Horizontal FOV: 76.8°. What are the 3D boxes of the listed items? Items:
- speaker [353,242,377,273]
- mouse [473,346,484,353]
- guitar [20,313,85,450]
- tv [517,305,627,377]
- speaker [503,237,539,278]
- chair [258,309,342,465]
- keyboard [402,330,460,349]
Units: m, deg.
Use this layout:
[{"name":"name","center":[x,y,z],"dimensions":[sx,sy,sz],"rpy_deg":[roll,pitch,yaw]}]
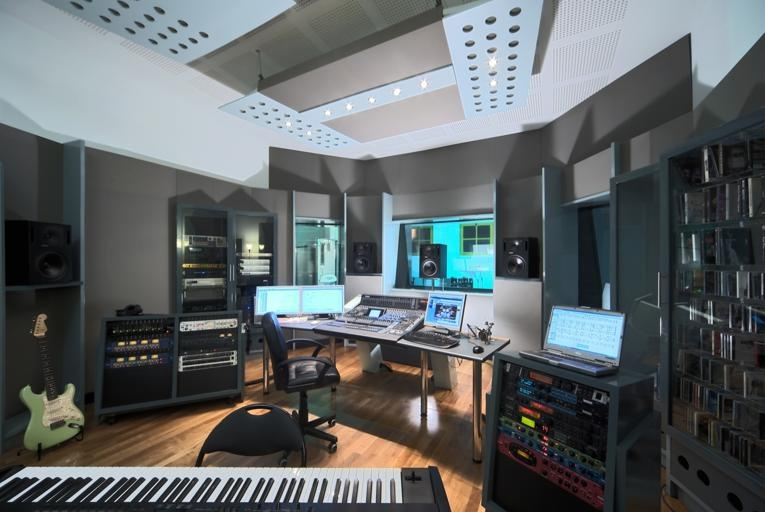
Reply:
[{"name":"speaker","center":[-0.242,0.023,7.358],"dimensions":[0.405,0.591,0.321],"rpy_deg":[-2,-6,15]},{"name":"mouse","center":[0.980,0.948,4.907],"dimensions":[0.105,0.070,0.142],"rpy_deg":[-3,0,13]},{"name":"guitar","center":[-3.428,1.276,5.012],"dimensions":[0.515,1.233,0.501],"rpy_deg":[-3,0,-35]},{"name":"tv","center":[1.736,0.694,4.140],"dimensions":[0.545,0.485,0.710],"rpy_deg":[4,-2,-43]},{"name":"speaker","center":[1.844,0.035,6.419],"dimensions":[0.456,0.559,0.278],"rpy_deg":[-3,0,14]},{"name":"chair","center":[-0.873,1.335,5.262],"dimensions":[0.841,1.377,0.854],"rpy_deg":[1,4,-10]},{"name":"keyboard","center":[0.537,0.903,5.213],"dimensions":[0.577,0.176,0.406],"rpy_deg":[-3,0,38]}]
